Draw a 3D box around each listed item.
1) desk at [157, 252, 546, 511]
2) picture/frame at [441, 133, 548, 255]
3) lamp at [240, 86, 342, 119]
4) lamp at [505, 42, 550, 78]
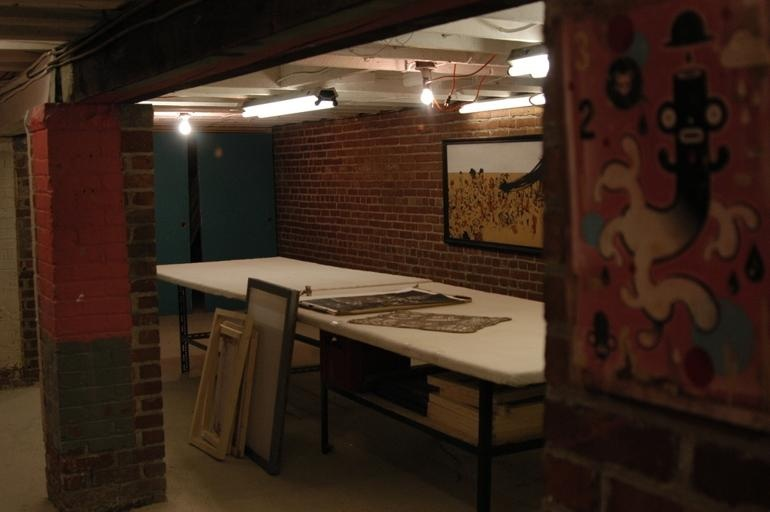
[{"bbox_3d":[-0.125,0.694,4.829,2.092,1.086,4.463,-8,10,-41],"label":"desk"},{"bbox_3d":[1.118,-0.650,5.810,0.053,0.859,1.381,-6,7,-39],"label":"picture/frame"},{"bbox_3d":[-0.788,-1.320,4.944,0.334,0.153,1.222,-7,9,-36],"label":"lamp"},{"bbox_3d":[0.837,-1.162,3.402,0.217,0.191,0.450,0,7,11],"label":"lamp"}]
